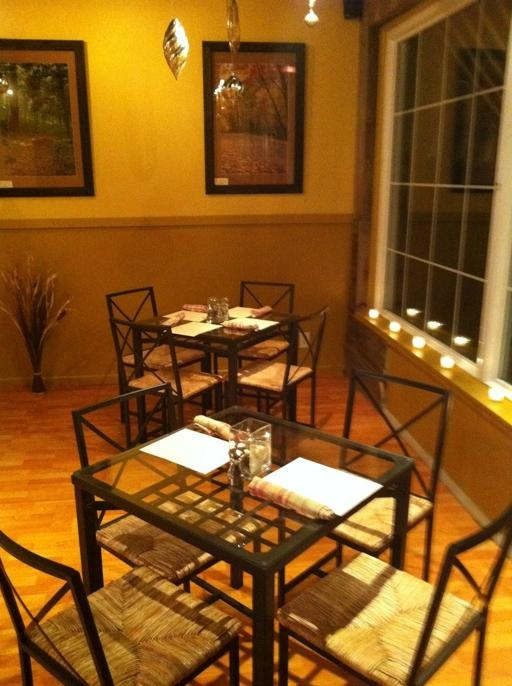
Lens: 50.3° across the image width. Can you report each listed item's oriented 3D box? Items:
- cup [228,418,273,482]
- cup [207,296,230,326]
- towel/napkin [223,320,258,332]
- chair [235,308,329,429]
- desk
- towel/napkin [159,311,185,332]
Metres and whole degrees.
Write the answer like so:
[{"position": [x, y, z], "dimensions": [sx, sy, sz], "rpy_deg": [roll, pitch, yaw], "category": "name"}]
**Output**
[{"position": [-0.016, 0.283, 1.405], "dimensions": [0.079, 0.143, 0.079], "rpy_deg": [0, 20, 0], "category": "cup"}, {"position": [-0.217, -0.200, 3.286], "dimensions": [0.156, 0.171, 0.153], "rpy_deg": [0, 16, 0], "category": "cup"}, {"position": [-0.088, -0.094, 3.021], "dimensions": [0.161, 0.042, 0.216], "rpy_deg": [-6, 14, -19], "category": "towel/napkin"}, {"position": [0.142, 0.160, 3.272], "dimensions": [0.501, 0.877, 0.473], "rpy_deg": [14, 28, 27], "category": "chair"}, {"position": [0.489, 0.580, 2.090], "dimensions": [0.597, 0.796, 0.578], "rpy_deg": [20, -11, -31], "category": "desk"}, {"position": [-0.496, -0.127, 3.226], "dimensions": [0.091, 0.040, 0.163], "rpy_deg": [4, 18, 17], "category": "towel/napkin"}]
